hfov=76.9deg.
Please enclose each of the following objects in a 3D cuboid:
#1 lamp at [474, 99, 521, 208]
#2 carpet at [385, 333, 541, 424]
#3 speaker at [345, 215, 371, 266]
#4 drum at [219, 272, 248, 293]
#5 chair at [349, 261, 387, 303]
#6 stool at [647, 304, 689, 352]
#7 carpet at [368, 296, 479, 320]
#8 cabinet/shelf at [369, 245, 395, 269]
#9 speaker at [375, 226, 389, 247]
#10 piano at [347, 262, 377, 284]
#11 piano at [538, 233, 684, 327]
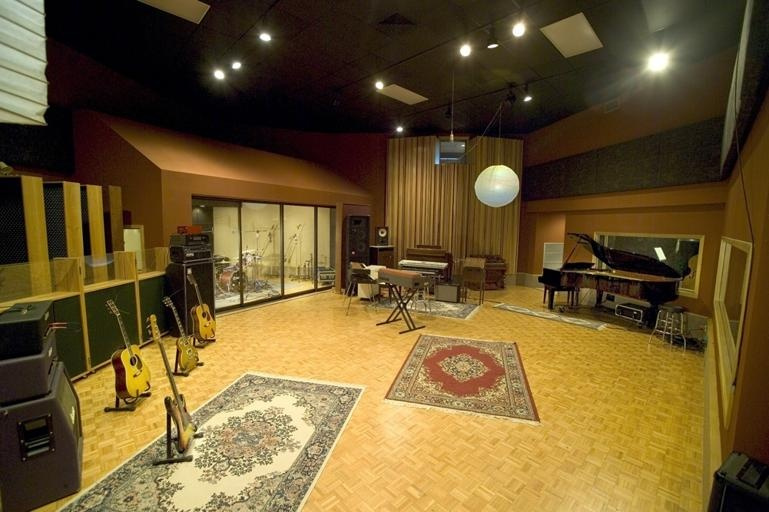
[{"bbox_3d":[2.629,-2.251,11.239,1.053,2.473,4.373,4,11,15],"label":"lamp"},{"bbox_3d":[1.227,1.831,7.652,2.073,0.331,2.125,3,10,11],"label":"carpet"},{"bbox_3d":[-0.617,-0.378,11.347,0.510,1.115,0.198,-2,12,-13],"label":"speaker"},{"bbox_3d":[-3.267,0.557,10.564,0.534,0.535,0.503,8,5,22],"label":"drum"},{"bbox_3d":[-0.454,0.717,10.574,0.677,0.965,0.761,1,8,-5],"label":"chair"},{"bbox_3d":[5.269,1.271,8.895,0.724,1.219,0.736,-2,6,25],"label":"stool"},{"bbox_3d":[0.918,1.149,10.625,2.170,0.064,1.456,3,10,11],"label":"carpet"},{"bbox_3d":[0.047,-0.017,11.832,0.455,0.823,0.842,1,2,35],"label":"cabinet/shelf"},{"bbox_3d":[-0.034,-0.493,11.807,0.305,0.425,0.167,-7,14,-35],"label":"speaker"},{"bbox_3d":[-0.473,0.336,10.629,0.568,0.423,1.108,0,10,-5],"label":"piano"},{"bbox_3d":[4.486,0.387,9.839,1.502,1.717,2.348,-5,10,-27],"label":"piano"}]
